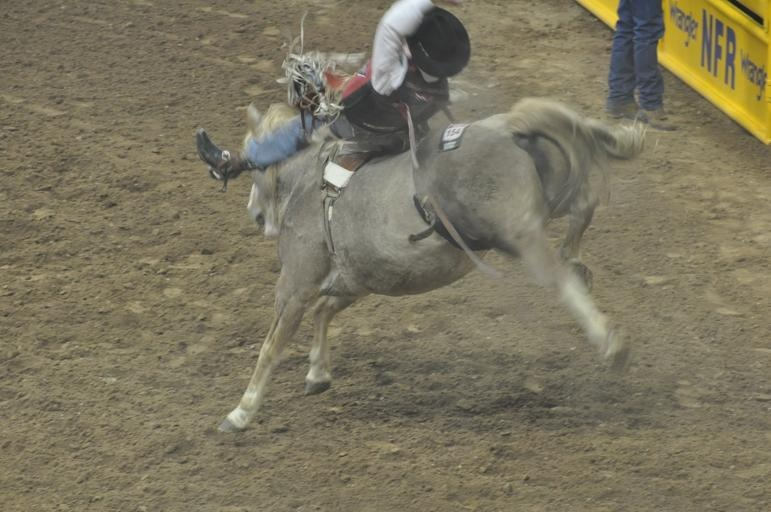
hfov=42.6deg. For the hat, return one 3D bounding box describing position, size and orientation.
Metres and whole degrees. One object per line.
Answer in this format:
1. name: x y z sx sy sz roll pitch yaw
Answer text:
1. hat: 0.345 -1.349 6.314 0.343 0.396 0.213 28 36 25
